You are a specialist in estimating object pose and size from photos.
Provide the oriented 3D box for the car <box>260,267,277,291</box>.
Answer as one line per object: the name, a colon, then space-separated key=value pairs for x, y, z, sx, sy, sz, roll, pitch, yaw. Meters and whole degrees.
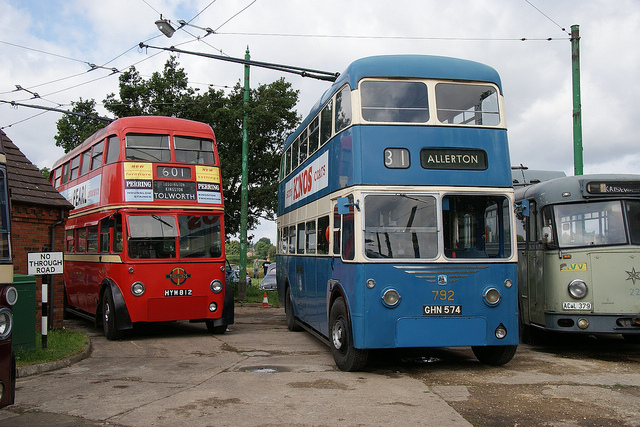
car: x=-3.006 y=3.760 z=28.377 sx=0.873 sy=0.782 sz=2.157 roll=1 pitch=3 yaw=-8

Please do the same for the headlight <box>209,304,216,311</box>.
headlight: x=-3.119 y=2.690 z=14.102 sx=0.197 sy=0.215 sz=0.067 roll=1 pitch=-2 yaw=4

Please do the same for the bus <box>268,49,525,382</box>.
bus: x=1.721 y=0.333 z=10.113 sx=2.739 sy=4.105 sz=7.524 roll=2 pitch=-2 yaw=-13

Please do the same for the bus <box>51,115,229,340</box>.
bus: x=-5.772 y=0.413 z=15.015 sx=5.635 sy=6.510 sz=2.388 roll=-3 pitch=-5 yaw=36

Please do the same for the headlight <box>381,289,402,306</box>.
headlight: x=1.329 y=1.598 z=9.317 sx=0.291 sy=0.235 sz=0.047 roll=0 pitch=-3 yaw=-7

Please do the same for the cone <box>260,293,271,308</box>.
cone: x=-2.633 y=4.181 z=23.295 sx=0.400 sy=0.475 sz=0.416 roll=2 pitch=-9 yaw=-17

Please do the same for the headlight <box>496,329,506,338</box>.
headlight: x=3.492 y=2.319 z=9.488 sx=0.181 sy=0.160 sz=0.043 roll=2 pitch=-4 yaw=-21
